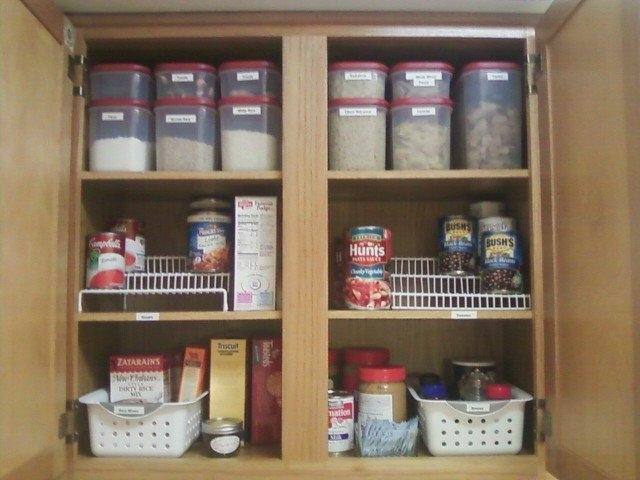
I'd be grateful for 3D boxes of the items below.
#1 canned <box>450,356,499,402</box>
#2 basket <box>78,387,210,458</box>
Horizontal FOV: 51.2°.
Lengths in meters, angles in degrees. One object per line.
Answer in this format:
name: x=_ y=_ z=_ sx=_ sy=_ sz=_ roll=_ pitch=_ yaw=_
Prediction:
canned: x=0.516 y=0.464 z=2.240 sx=0.137 sy=0.112 sz=0.130 roll=0 pitch=-2 yaw=34
basket: x=-0.575 y=0.574 z=2.111 sx=0.286 sy=0.096 sz=0.212 roll=0 pitch=-5 yaw=1
